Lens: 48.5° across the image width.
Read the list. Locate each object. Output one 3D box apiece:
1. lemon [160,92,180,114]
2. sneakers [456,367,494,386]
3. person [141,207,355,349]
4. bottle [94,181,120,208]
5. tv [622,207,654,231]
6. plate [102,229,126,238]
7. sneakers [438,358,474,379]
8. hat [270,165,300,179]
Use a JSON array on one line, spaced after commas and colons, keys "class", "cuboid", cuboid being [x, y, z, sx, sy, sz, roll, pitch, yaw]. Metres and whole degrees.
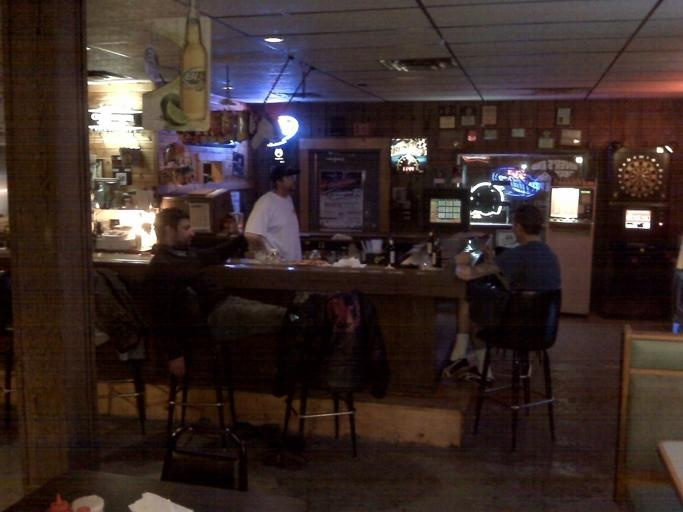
[{"class": "lemon", "cuboid": [-0.872, -0.775, 3.841, 0.100, 0.107, 0.096, 1, 17, 5]}, {"class": "sneakers", "cuboid": [1.044, 0.950, 6.038, 0.398, 0.146, 0.149, 3, 0, -2]}, {"class": "person", "cuboid": [-0.643, 0.117, 5.559, 1.338, 0.979, 1.143, 1, 14, 5]}, {"class": "bottle", "cuboid": [-2.379, -0.624, 7.687, 0.243, 0.271, 0.137, 0, 14, -1]}, {"class": "tv", "cuboid": [3.572, -0.432, 9.160, 0.429, 0.343, 0.217, 1, 1, 21]}, {"class": "plate", "cuboid": [-2.179, -0.220, 7.322, 0.238, 0.032, 0.261, -1, 14, -4]}, {"class": "sneakers", "cuboid": [0.903, 0.891, 6.011, 0.281, 0.110, 0.117, 3, -7, -39]}, {"class": "hat", "cuboid": [-0.495, -0.734, 6.612, 0.201, 0.091, 0.131, -8, 10, -6]}]
